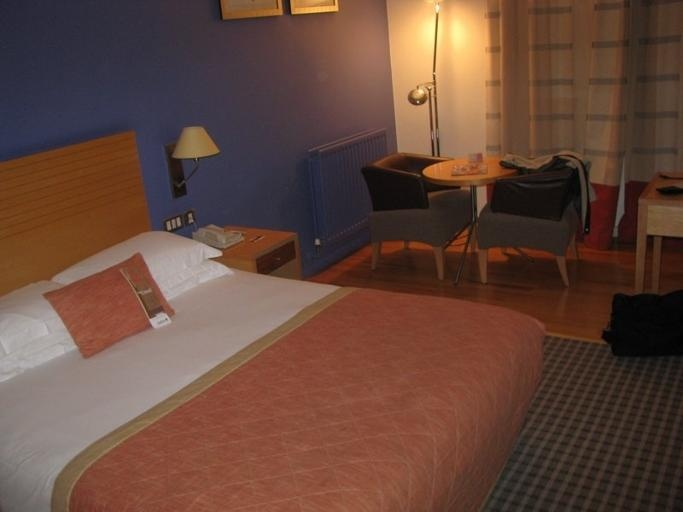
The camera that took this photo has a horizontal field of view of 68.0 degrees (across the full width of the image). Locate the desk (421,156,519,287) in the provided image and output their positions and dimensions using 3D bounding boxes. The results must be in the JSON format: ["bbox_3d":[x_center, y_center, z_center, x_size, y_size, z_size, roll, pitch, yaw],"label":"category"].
[{"bbox_3d":[1.178,-0.303,4.594,0.773,0.916,0.811,-18,29,-24],"label":"desk"}]

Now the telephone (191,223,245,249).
[{"bbox_3d":[-0.942,-0.152,3.790,0.263,0.094,0.211,13,26,24],"label":"telephone"}]

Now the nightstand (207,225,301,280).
[{"bbox_3d":[-0.618,-0.006,3.767,0.412,0.414,0.408,12,30,22],"label":"nightstand"}]

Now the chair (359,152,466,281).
[{"bbox_3d":[0.771,-0.503,5.251,1.058,1.368,1.385,3,16,20],"label":"chair"}]

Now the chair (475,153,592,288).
[{"bbox_3d":[1.751,-0.309,4.786,0.973,1.208,1.253,9,24,24],"label":"chair"}]

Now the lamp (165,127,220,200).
[{"bbox_3d":[-1.130,-0.699,3.772,0.359,0.546,0.381,8,25,18],"label":"lamp"}]
